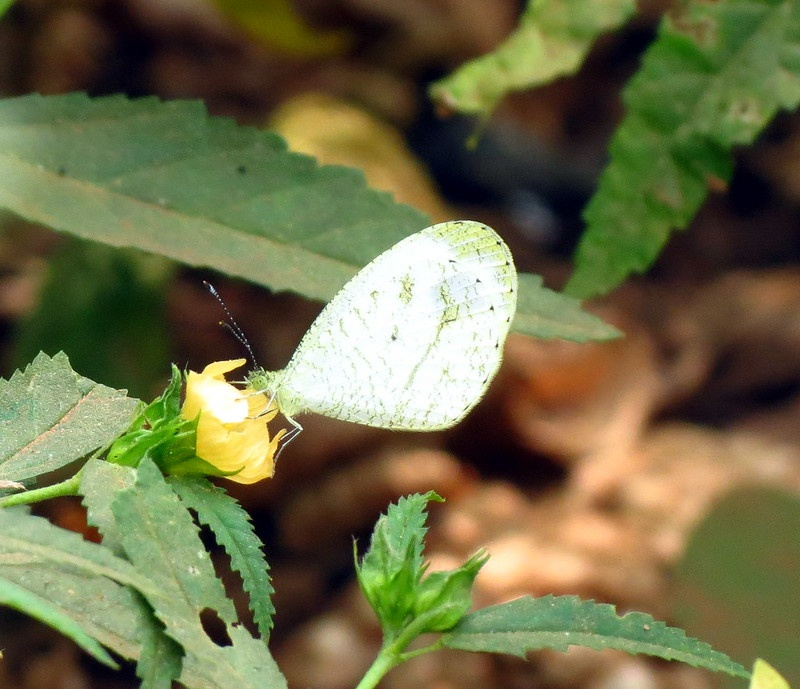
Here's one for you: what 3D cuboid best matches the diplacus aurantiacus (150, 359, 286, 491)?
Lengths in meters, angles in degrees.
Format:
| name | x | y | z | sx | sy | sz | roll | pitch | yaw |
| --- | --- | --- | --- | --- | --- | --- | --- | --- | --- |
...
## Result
| name | x | y | z | sx | sy | sz | roll | pitch | yaw |
| --- | --- | --- | --- | --- | --- | --- | --- | --- | --- |
| diplacus aurantiacus | -0.237 | 0.114 | 1.551 | 0.180 | 0.128 | 0.180 | 43 | 85 | -4 |
